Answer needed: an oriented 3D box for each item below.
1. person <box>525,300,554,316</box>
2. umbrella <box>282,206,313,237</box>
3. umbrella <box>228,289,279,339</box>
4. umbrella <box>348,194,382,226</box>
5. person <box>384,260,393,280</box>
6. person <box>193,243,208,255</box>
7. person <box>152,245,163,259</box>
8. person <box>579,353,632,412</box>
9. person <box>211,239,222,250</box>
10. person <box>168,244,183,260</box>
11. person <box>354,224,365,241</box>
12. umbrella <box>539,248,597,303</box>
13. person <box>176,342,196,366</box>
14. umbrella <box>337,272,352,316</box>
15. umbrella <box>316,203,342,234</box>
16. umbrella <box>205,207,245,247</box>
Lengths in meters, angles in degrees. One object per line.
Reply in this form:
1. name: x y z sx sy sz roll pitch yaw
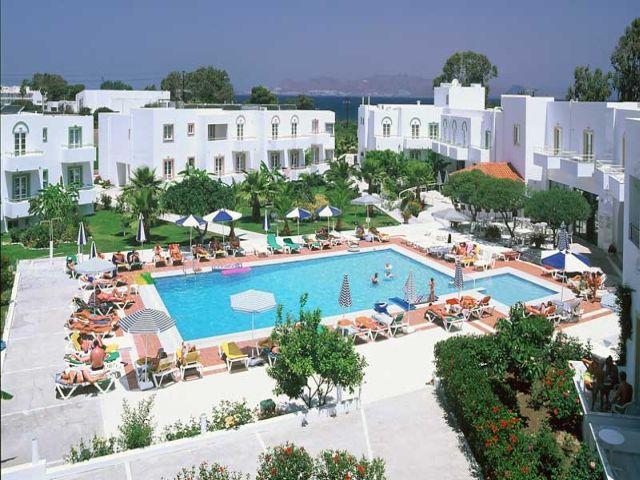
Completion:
1. person: 9.631 3.041 24.357 1.197 0.618 0.960 1 7 -6
2. umbrella: -1.252 -1.114 36.952 1.865 2.388 1.987 -7 18 -19
3. umbrella: -2.738 3.296 22.650 1.931 2.176 1.691 -10 21 -39
4. umbrella: 3.454 -1.858 41.029 2.124 2.880 2.657 0 19 9
5. person: 3.894 1.798 31.615 0.470 1.282 0.580 -7 -25 18
6. person: -7.213 0.633 33.409 0.598 0.432 1.073 -1 10 -20
7. person: -9.483 0.966 32.619 0.613 0.227 0.839 3 43 -19
8. person: 8.726 4.350 17.055 1.124 0.626 1.755 -4 19 8
9. person: -6.398 0.402 34.458 0.536 0.272 0.750 2 11 -11
10. person: -8.550 0.849 32.702 0.676 0.383 1.101 7 33 -23
11. person: 2.740 -0.496 38.286 0.768 1.015 0.872 0 8 5
12. umbrella: 11.944 1.763 27.168 1.728 0.862 1.986 3 37 9
13. person: -4.817 4.125 20.037 0.646 0.963 0.782 1 2 -15
14. umbrella: 1.094 2.405 23.369 0.565 1.995 0.611 3 1 11
15. umbrella: 0.633 -1.392 37.422 1.483 2.101 1.617 0 13 1
16. umbrella: -6.298 -0.729 36.572 2.196 1.264 2.265 -3 9 -4
